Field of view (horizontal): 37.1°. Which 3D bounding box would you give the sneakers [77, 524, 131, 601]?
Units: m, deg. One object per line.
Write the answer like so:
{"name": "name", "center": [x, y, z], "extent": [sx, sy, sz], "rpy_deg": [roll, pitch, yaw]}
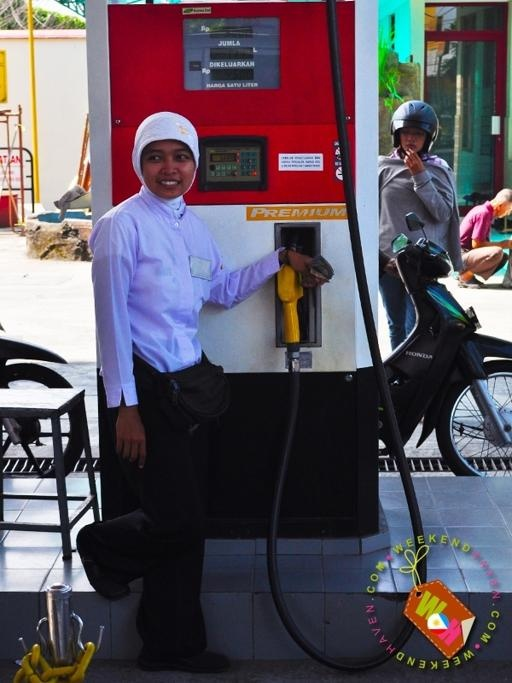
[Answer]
{"name": "sneakers", "center": [-0.449, 0.667, 2.205], "extent": [0.156, 0.214, 0.063], "rpy_deg": [-32, 4, 47]}

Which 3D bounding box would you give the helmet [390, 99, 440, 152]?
{"name": "helmet", "center": [0.806, -1.085, 3.831], "extent": [0.216, 0.272, 0.281], "rpy_deg": [-2, 10, 10]}

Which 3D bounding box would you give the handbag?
{"name": "handbag", "center": [-0.177, 0.114, 2.170], "extent": [0.218, 0.102, 0.262], "rpy_deg": [-28, 31, -37]}

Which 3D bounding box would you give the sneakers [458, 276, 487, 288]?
{"name": "sneakers", "center": [2.604, -0.701, 9.000], "extent": [0.291, 0.129, 0.138], "rpy_deg": [0, 11, 3]}

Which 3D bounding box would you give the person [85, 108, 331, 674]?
{"name": "person", "center": [-0.204, 0.131, 2.206], "extent": [0.420, 1.523, 0.567], "rpy_deg": [4, 13, 41]}
